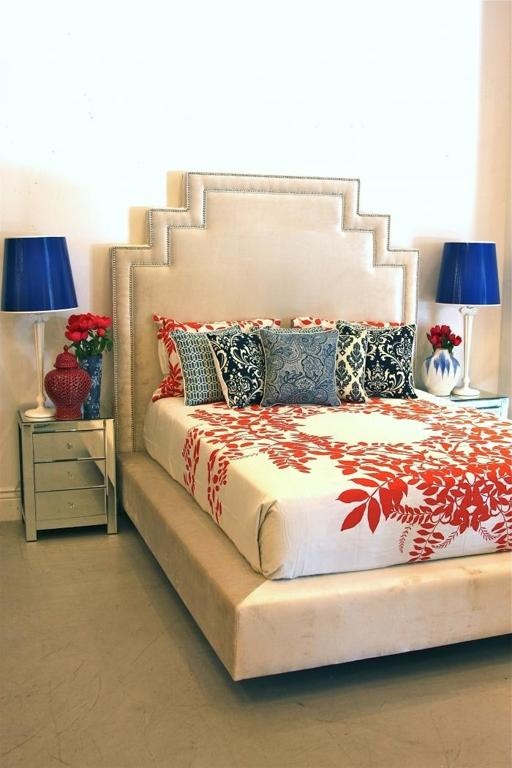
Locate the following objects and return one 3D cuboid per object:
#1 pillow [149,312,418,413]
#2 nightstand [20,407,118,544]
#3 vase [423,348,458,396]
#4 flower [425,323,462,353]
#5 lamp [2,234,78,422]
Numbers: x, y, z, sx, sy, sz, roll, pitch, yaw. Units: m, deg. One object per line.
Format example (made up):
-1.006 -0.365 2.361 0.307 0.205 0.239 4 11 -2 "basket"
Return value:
0.163 -0.116 3.170 1.311 0.420 0.555 0 4 -20 "pillow"
-0.855 0.400 3.141 0.561 0.737 0.539 -3 8 -19 "nightstand"
1.080 -0.063 3.667 0.253 0.299 0.253 1 3 7 "vase"
1.134 -0.265 3.752 0.184 0.176 0.188 6 5 34 "flower"
-1.005 -0.263 2.894 0.308 0.835 0.302 -2 5 -39 "lamp"
